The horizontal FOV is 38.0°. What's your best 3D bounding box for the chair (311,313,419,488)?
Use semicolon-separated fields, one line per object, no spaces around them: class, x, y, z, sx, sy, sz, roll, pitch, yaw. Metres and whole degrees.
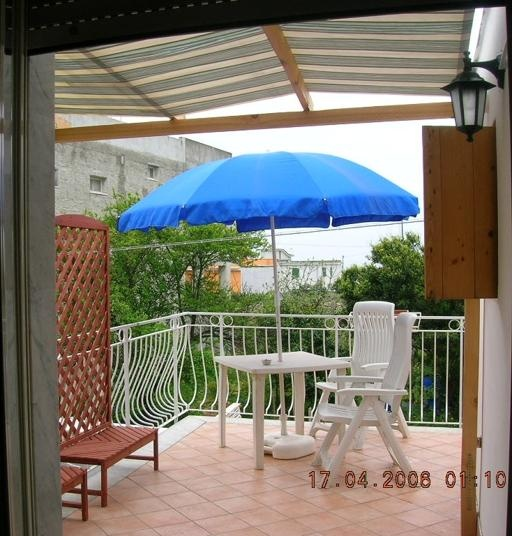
chair;0.739;0.875;5.027;0.762;1.129;0.763;4;-2;-43

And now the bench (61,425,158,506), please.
bench;-0.932;1.236;4.670;0.356;0.365;0.910;1;5;15

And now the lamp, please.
lamp;1.039;-0.798;3.453;0.225;0.427;0.383;-1;4;-12

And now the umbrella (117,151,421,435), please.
umbrella;0.037;0.138;5.389;1.588;1.361;1.630;-4;-1;-26
